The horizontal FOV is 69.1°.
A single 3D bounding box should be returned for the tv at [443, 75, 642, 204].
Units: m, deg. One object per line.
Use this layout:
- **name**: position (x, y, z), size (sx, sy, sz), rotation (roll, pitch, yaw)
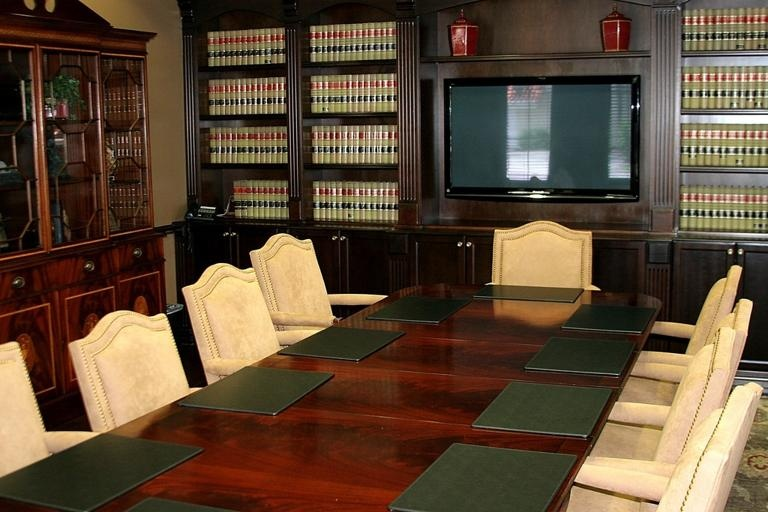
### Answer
- **tv**: position (1.538, -1.089, 5.156), size (1.532, 0.835, 0.096), rotation (1, 9, 14)
